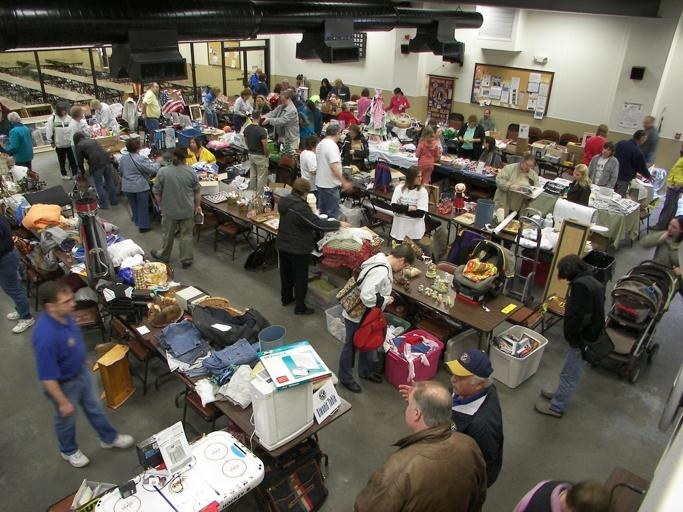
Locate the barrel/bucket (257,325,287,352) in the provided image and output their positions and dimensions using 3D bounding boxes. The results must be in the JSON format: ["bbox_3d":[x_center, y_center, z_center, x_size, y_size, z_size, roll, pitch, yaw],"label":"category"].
[{"bbox_3d":[-0.673,0.780,4.413,0.227,0.254,0.235,1,29,-1],"label":"barrel/bucket"}]

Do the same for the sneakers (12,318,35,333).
[{"bbox_3d":[-4.259,0.900,6.092,0.129,0.122,0.281,23,37,17],"label":"sneakers"}]

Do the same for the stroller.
[{"bbox_3d":[3.588,0.849,5.598,1.523,1.140,0.709,-27,31,-26],"label":"stroller"}]

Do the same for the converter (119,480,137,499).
[{"bbox_3d":[-1.543,1.692,3.275,0.115,0.063,0.095,-13,26,-35],"label":"converter"}]

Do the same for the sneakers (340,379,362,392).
[{"bbox_3d":[0.125,1.549,5.407,0.274,0.116,0.103,14,27,30],"label":"sneakers"}]

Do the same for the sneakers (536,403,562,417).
[{"bbox_3d":[2.364,1.772,5.215,0.274,0.116,0.124,17,35,21],"label":"sneakers"}]

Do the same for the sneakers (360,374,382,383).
[{"bbox_3d":[0.356,1.484,5.574,0.267,0.109,0.090,11,25,11],"label":"sneakers"}]

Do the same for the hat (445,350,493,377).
[{"bbox_3d":[0.994,0.841,3.560,0.310,0.166,0.203,11,14,7],"label":"hat"}]
